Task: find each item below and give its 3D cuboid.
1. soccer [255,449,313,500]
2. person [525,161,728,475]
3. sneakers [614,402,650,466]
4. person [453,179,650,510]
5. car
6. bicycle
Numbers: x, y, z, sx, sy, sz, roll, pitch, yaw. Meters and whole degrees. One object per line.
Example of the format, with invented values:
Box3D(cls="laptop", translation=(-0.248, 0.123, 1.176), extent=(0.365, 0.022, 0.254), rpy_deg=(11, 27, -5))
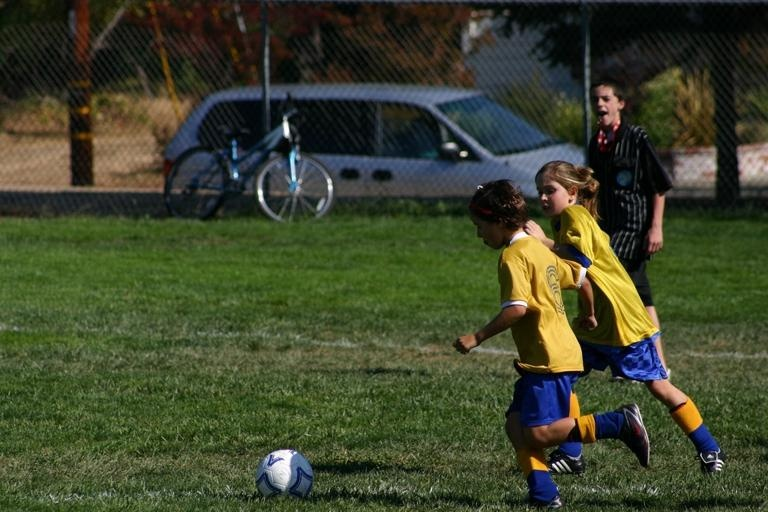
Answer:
Box3D(cls="soccer", translation=(-0.801, 1.758, 13.583), extent=(0.463, 0.380, 0.145), rpy_deg=(-2, 4, -8))
Box3D(cls="person", translation=(1.979, 0.516, 13.939), extent=(1.265, 2.746, 0.896), rpy_deg=(-7, -9, 13))
Box3D(cls="sneakers", translation=(2.055, 1.424, 13.646), extent=(0.211, 0.633, 0.199), rpy_deg=(-19, 2, -9))
Box3D(cls="person", translation=(1.300, 0.697, 13.395), extent=(1.206, 2.936, 0.840), rpy_deg=(-1, 2, -16))
Box3D(cls="car", translation=(0.075, -0.766, 16.558), extent=(3.071, 1.305, 1.718), rpy_deg=(-3, 9, -8))
Box3D(cls="bicycle", translation=(-1.252, -0.888, 15.361), extent=(1.521, 1.264, 0.850), rpy_deg=(4, 25, -12))
